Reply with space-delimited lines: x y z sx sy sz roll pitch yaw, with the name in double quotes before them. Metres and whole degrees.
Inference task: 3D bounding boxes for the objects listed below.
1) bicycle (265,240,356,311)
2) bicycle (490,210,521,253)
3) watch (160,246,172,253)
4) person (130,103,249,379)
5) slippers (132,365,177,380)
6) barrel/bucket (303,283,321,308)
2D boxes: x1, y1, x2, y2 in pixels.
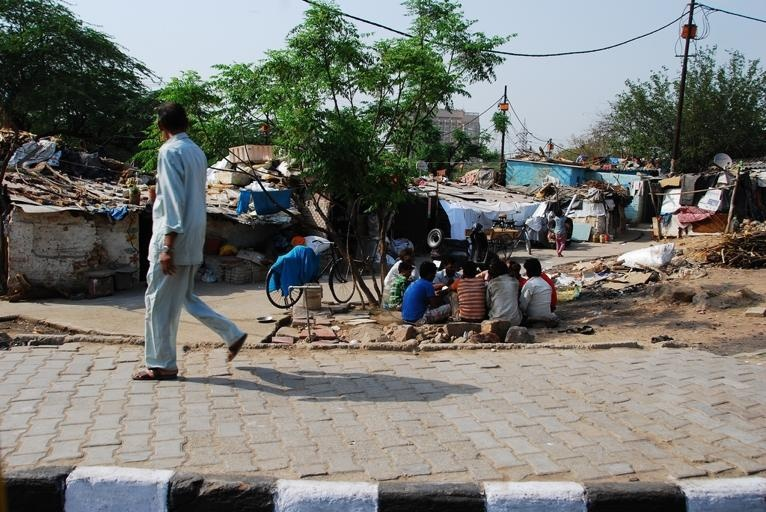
"bicycle" -1.443 0.374 13.781 0.778 1.152 2.522 -2 -1 37
"bicycle" 3.914 -0.565 21.547 0.965 0.913 1.198 3 -3 23
"watch" -2.355 -0.068 7.368 0.088 0.040 0.081 2 2 1
"person" -2.299 -0.178 7.710 0.560 3.166 0.837 4 5 43
"slippers" -2.585 1.342 7.751 0.491 0.135 0.169 4 -3 -9
"barrel/bucket" -1.278 0.752 12.483 0.514 0.389 0.505 0 1 0
